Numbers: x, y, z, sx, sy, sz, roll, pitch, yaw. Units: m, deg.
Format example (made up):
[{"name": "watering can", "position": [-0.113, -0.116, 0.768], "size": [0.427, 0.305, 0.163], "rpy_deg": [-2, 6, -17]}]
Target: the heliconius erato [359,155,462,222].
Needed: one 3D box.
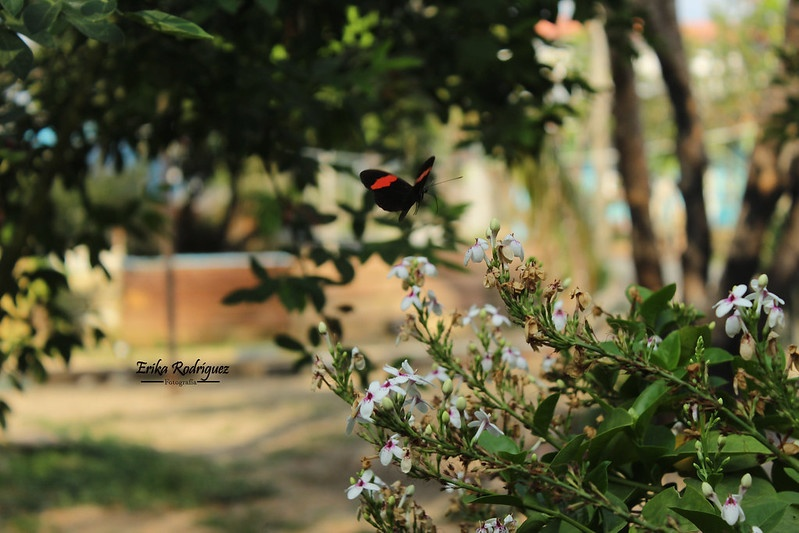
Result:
[{"name": "heliconius erato", "position": [0.025, -0.237, 4.594], "size": [0.298, 0.249, 0.164], "rpy_deg": [-24, 52, -31]}]
